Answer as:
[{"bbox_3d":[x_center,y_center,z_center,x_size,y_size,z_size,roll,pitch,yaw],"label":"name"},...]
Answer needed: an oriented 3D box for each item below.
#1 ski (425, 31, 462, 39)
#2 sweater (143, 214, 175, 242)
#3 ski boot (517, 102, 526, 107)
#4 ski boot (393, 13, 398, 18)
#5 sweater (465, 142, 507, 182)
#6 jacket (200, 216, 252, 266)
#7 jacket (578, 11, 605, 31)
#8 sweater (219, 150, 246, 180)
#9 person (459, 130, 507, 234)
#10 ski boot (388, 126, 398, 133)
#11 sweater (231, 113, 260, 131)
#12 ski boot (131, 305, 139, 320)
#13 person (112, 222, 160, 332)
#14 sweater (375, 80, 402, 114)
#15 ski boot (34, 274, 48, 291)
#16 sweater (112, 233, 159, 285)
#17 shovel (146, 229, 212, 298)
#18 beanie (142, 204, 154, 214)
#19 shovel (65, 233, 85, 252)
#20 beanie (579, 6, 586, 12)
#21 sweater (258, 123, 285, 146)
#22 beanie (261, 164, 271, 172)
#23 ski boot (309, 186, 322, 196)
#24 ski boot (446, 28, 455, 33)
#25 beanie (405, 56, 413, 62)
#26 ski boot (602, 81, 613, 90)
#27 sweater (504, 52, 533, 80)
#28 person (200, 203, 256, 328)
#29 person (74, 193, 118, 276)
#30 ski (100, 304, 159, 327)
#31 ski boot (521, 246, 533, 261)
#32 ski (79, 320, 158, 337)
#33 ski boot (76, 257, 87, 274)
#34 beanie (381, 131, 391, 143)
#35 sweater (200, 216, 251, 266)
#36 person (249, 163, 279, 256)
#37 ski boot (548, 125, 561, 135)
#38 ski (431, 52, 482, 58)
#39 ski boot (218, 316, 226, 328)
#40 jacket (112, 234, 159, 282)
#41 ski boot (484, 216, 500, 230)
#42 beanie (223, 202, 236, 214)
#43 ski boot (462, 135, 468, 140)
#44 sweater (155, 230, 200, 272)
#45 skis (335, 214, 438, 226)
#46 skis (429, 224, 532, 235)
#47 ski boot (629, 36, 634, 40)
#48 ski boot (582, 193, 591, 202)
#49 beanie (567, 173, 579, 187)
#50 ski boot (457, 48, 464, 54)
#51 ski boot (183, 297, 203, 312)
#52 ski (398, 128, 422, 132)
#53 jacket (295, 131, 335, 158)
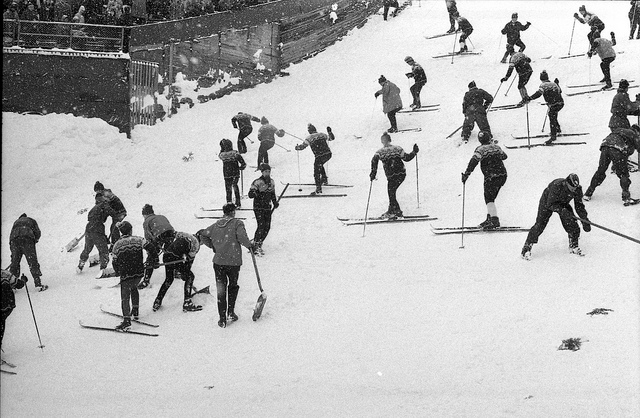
[{"bbox_3d":[5.241,-7.273,33.630,1.482,0.160,0.151,0,29,32],"label":"ski"},{"bbox_3d":[-3.825,0.528,18.970,0.580,0.717,0.759,-5,-25,-31],"label":"sweater"},{"bbox_3d":[6.290,-3.251,24.971,0.215,0.130,0.396,1,10,9],"label":"ski boot"},{"bbox_3d":[3.555,-9.145,37.922,0.140,0.223,0.388,5,11,30],"label":"ski boot"},{"bbox_3d":[4.236,-1.281,20.201,0.972,1.194,0.762,-9,-2,-12],"label":"sweater"},{"bbox_3d":[-2.072,0.696,17.949,1.327,1.078,0.550,0,6,11],"label":"jacket"},{"bbox_3d":[9.048,-6.229,26.531,0.741,0.271,0.603,36,49,23],"label":"jacket"},{"bbox_3d":[-2.428,-1.214,22.145,0.742,0.803,0.438,0,10,5],"label":"sweater"},{"bbox_3d":[4.168,-0.673,19.954,0.853,2.473,0.718,3,11,21],"label":"person"},{"bbox_3d":[2.392,-2.587,26.075,0.262,0.209,0.243,-2,10,-6],"label":"ski boot"},{"bbox_3d":[-2.422,-2.799,25.732,0.903,0.494,0.577,-5,11,-22],"label":"sweater"},{"bbox_3d":[-4.169,2.309,18.058,0.187,0.339,0.163,-8,12,-32],"label":"ski boot"},{"bbox_3d":[-4.273,1.492,17.925,0.559,2.323,0.982,8,14,39],"label":"person"},{"bbox_3d":[2.241,-3.576,25.722,0.738,1.015,0.310,4,12,25],"label":"sweater"},{"bbox_3d":[-6.850,1.821,19.488,0.464,0.423,0.199,-4,5,-22],"label":"ski boot"},{"bbox_3d":[-4.204,1.147,18.255,1.264,1.280,0.768,-3,5,0],"label":"sweater"},{"bbox_3d":[-3.436,1.283,18.923,0.863,2.200,0.100,-46,0,10],"label":"shovel"},{"bbox_3d":[-4.101,0.008,19.009,0.245,0.219,0.194,-7,-9,44],"label":"beanie"},{"bbox_3d":[-6.446,0.906,21.107,0.503,0.426,0.274,5,12,27],"label":"shovel"},{"bbox_3d":[8.783,-6.678,26.758,0.204,0.149,0.204,2,10,15],"label":"beanie"},{"bbox_3d":[-1.609,-2.346,25.137,0.647,0.605,0.874,9,8,42],"label":"sweater"},{"bbox_3d":[-1.379,-1.038,20.223,0.232,0.152,0.225,1,11,10],"label":"beanie"},{"bbox_3d":[-0.128,-0.531,23.173,0.365,0.274,0.216,-1,10,-2],"label":"ski boot"},{"bbox_3d":[5.416,-7.341,33.005,0.238,0.183,0.461,-8,12,-35],"label":"ski boot"},{"bbox_3d":[2.940,-4.954,26.549,0.298,0.138,0.377,-1,12,3],"label":"beanie"},{"bbox_3d":[9.031,-3.871,25.138,0.300,0.251,0.164,4,11,24],"label":"ski boot"},{"bbox_3d":[6.090,-4.435,24.667,1.157,0.748,0.478,-10,14,-43],"label":"sweater"},{"bbox_3d":[-2.051,1.232,17.905,0.798,2.669,0.717,-7,12,-30],"label":"person"},{"bbox_3d":[-5.663,0.621,20.218,0.888,1.987,0.716,0,11,6],"label":"person"},{"bbox_3d":[-4.304,2.429,18.136,1.613,0.174,0.179,12,44,26],"label":"ski"},{"bbox_3d":[4.784,1.030,18.541,0.324,0.297,0.220,4,-1,15],"label":"ski boot"},{"bbox_3d":[-4.463,2.673,17.824,1.382,0.180,0.134,7,-31,12],"label":"ski"},{"bbox_3d":[-6.065,1.396,20.231,0.218,0.406,0.233,-4,11,-16],"label":"ski boot"},{"bbox_3d":[1.744,-1.870,21.213,0.199,0.226,0.356,-1,10,-2],"label":"beanie"},{"bbox_3d":[-2.180,0.788,18.488,1.220,1.024,0.503,-5,-8,18],"label":"sweater"},{"bbox_3d":[-1.471,0.034,20.220,0.764,2.239,0.684,-7,12,-29],"label":"person"},{"bbox_3d":[6.812,-2.261,22.994,0.282,0.262,0.087,-2,-12,35],"label":"ski boot"},{"bbox_3d":[5.367,-5.937,30.937,1.663,0.184,0.255,3,11,20],"label":"ski"},{"bbox_3d":[-2.168,2.483,17.734,0.159,0.259,0.116,-2,11,-8],"label":"ski boot"},{"bbox_3d":[-4.122,1.071,18.058,1.098,1.007,0.635,-9,-4,20],"label":"jacket"},{"bbox_3d":[4.284,0.338,19.915,0.363,0.326,0.189,2,11,13],"label":"ski boot"},{"bbox_3d":[-2.063,-0.011,17.976,0.217,0.249,0.263,0,26,14],"label":"beanie"},{"bbox_3d":[4.361,-2.154,24.109,0.131,0.141,0.126,1,10,9],"label":"ski boot"},{"bbox_3d":[-3.305,0.943,18.505,0.903,0.850,0.568,4,11,26],"label":"sweater"},{"bbox_3d":[1.863,0.305,21.206,1.761,0.180,0.182,-2,52,10],"label":"skis"},{"bbox_3d":[4.076,0.518,19.942,2.123,0.143,0.208,-1,43,15],"label":"skis"},{"bbox_3d":[11.430,-6.259,29.367,0.131,0.121,0.263,3,10,19],"label":"ski boot"},{"bbox_3d":[6.774,-0.276,20.301,0.209,0.100,0.273,5,-7,3],"label":"ski boot"},{"bbox_3d":[5.754,-0.655,18.179,0.251,0.269,0.202,2,11,15],"label":"beanie"},{"bbox_3d":[5.440,-6.087,30.925,0.208,0.216,0.222,-5,11,-23],"label":"ski boot"},{"bbox_3d":[-2.967,2.208,18.323,0.576,0.372,0.192,-2,1,-7],"label":"ski boot"},{"bbox_3d":[2.928,-2.551,25.924,0.656,0.047,0.112,-6,22,20],"label":"ski"},{"bbox_3d":[-0.097,-1.995,23.209,1.138,0.301,0.929,12,-30,-38],"label":"jacket"}]
